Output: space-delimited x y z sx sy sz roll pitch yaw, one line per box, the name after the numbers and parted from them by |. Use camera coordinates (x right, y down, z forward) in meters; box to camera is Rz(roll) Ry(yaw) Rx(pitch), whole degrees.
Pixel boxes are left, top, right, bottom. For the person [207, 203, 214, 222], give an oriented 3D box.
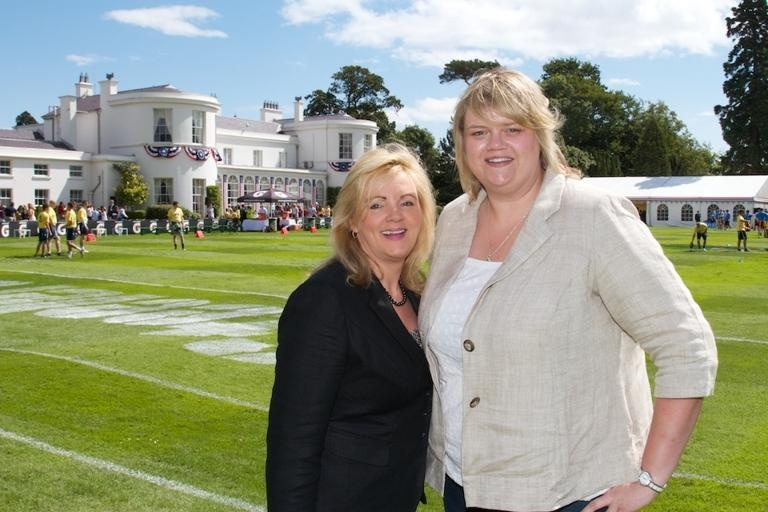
-13.244 -3.566 51.182 0.583 0.910 1.085 -1 6 -18 | person

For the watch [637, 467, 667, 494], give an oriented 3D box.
1.273 1.067 3.162 0.112 0.054 0.115 26 -8 32 | watch

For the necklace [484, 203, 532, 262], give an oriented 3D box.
0.678 -0.103 3.628 0.122 0.375 0.033 35 0 26 | necklace
